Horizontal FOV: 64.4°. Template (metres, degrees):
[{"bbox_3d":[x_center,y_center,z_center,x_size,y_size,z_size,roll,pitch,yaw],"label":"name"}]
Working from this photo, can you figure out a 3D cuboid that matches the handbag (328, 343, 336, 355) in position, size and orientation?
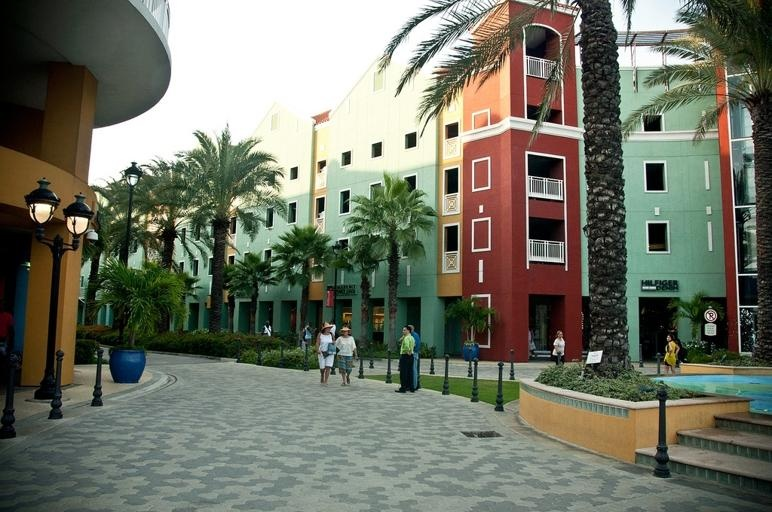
[{"bbox_3d":[-2.007,3.488,23.150,0.287,0.426,0.406,-3,-9,11],"label":"handbag"}]

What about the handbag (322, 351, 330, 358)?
[{"bbox_3d":[-2.251,3.648,22.932,0.252,0.193,0.043,-1,0,-6],"label":"handbag"}]

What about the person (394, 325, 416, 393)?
[{"bbox_3d":[0.676,3.618,21.603,0.634,2.308,0.690,-1,0,3],"label":"person"}]
